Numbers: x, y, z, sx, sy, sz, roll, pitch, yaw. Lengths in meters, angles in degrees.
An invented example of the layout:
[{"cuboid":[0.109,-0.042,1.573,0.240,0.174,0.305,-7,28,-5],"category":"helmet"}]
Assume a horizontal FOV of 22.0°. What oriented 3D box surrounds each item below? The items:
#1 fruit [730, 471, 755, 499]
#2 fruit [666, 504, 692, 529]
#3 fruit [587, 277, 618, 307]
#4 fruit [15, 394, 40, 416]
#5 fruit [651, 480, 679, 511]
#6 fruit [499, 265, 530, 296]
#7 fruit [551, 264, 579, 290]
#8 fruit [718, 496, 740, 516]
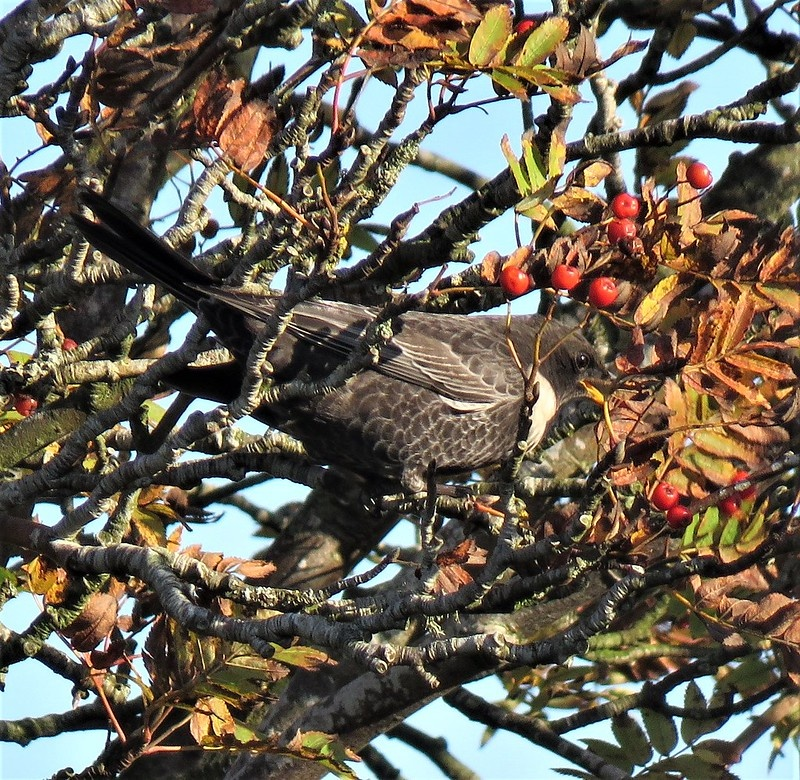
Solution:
[{"cuboid":[1.223,0.336,7.335,0.080,0.146,0.120,1,-46,12],"category":"fruit"},{"cuboid":[0.966,0.439,7.129,0.072,0.096,0.076,1,-2,-11],"category":"fruit"},{"cuboid":[0.670,-0.319,6.850,0.091,0.113,0.093,-11,22,-40],"category":"fruit"},{"cuboid":[-1.469,0.061,8.070,0.068,0.059,0.084,2,-77,-15],"category":"fruit"},{"cuboid":[0.928,0.376,7.253,0.091,0.099,0.093,12,-16,-23],"category":"fruit"},{"cuboid":[0.380,-0.355,6.803,0.089,0.101,0.094,1,-5,-3],"category":"fruit"},{"cuboid":[0.545,-0.368,6.809,0.079,0.087,0.084,-7,-13,16],"category":"fruit"},{"cuboid":[1.165,0.411,7.254,0.060,0.067,0.063,1,3,-1],"category":"fruit"}]
